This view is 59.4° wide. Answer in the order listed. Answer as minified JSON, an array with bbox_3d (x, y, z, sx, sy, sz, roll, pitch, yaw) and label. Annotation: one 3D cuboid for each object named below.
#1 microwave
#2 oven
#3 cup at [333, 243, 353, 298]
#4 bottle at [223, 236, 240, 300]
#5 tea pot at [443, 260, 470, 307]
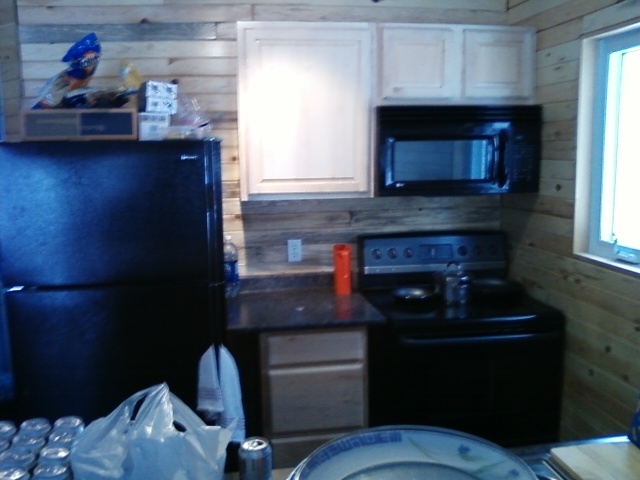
[{"bbox_3d":[0.648,-0.483,3.121,1.158,0.485,0.522,-5,10,-23],"label":"microwave"},{"bbox_3d":[0.771,0.649,3.073,1.008,0.767,0.613,0,-2,-4],"label":"oven"},{"bbox_3d":[0.128,0.165,3.167,0.097,0.269,0.153,-3,10,-1],"label":"cup"},{"bbox_3d":[-0.484,0.146,3.070,0.079,0.329,0.149,-4,10,-10],"label":"bottle"},{"bbox_3d":[0.730,0.225,2.986,0.138,0.207,0.179,0,10,13],"label":"tea pot"}]
